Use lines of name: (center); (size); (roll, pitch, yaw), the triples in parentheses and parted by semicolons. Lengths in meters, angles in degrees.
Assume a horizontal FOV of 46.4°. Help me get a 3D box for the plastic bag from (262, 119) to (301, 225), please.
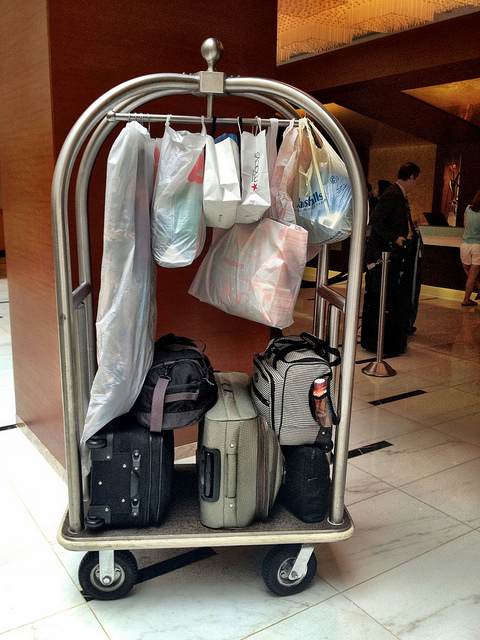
plastic bag: (0.103, -0.416, 1.572); (0.068, 0.264, 0.127); (2, 17, -2)

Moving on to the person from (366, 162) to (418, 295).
person: (1.228, -0.730, 4.538); (0.388, 1.116, 1.001); (4, 10, 13)

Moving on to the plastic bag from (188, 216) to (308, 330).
plastic bag: (0.022, -0.185, 1.661); (0.377, 0.360, 0.118); (22, 14, 39)

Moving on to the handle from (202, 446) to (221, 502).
handle: (-0.080, 0.460, 1.667); (0.052, 0.164, 0.104); (0, -12, 0)

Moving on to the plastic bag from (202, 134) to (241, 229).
plastic bag: (-0.049, -0.355, 1.455); (0.083, 0.220, 0.098); (0, 18, -6)

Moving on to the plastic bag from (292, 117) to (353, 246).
plastic bag: (0.223, -0.406, 1.625); (0.187, 0.391, 0.122); (-11, -4, 37)

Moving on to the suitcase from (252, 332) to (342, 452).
suitcase: (0.180, 0.217, 1.717); (0.219, 0.350, 0.326); (0, 20, 0)

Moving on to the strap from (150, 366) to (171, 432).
strap: (-0.219, 0.227, 1.559); (0.044, 0.206, 0.057); (3, 18, -20)

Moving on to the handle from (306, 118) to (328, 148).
handle: (0.225, -0.530, 1.615); (0.056, 0.085, 0.176); (3, 11, 8)

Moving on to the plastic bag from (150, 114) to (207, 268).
plastic bag: (-0.150, -0.331, 1.484); (0.110, 0.389, 0.167); (-1, 18, -8)

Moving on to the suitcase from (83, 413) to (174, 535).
suitcase: (-0.338, 0.454, 1.683); (0.217, 0.303, 0.211); (2, 8, -11)

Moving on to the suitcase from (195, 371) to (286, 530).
suitcase: (-0.024, 0.384, 1.811); (0.282, 0.402, 0.537); (1, 12, -5)

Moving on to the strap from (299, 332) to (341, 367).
strap: (0.250, 0.079, 1.765); (0.130, 0.035, 0.076); (40, 12, 34)

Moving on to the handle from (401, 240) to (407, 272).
handle: (1.348, -0.520, 4.621); (0.017, 0.262, 0.105); (7, 11, 28)

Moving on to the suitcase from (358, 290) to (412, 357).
suitcase: (1.252, 0.024, 4.860); (0.429, 0.577, 0.469); (4, 10, 16)

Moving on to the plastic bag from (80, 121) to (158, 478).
plastic bag: (-0.290, -0.074, 1.535); (0.131, 0.875, 0.234); (-3, 16, -12)

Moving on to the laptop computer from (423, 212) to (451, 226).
laptop computer: (2.932, -1.485, 8.480); (0.310, 0.242, 0.222); (7, 14, 11)

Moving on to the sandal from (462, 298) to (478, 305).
sandal: (3.088, -0.230, 7.508); (0.128, 0.061, 0.373); (10, 14, 39)

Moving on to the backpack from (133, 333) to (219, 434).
backpack: (-0.177, 0.194, 1.672); (0.190, 0.207, 0.277); (-8, 16, -1)

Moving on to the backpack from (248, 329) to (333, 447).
backpack: (0.153, 0.208, 1.716); (0.213, 0.300, 0.297); (-1, 16, -13)
